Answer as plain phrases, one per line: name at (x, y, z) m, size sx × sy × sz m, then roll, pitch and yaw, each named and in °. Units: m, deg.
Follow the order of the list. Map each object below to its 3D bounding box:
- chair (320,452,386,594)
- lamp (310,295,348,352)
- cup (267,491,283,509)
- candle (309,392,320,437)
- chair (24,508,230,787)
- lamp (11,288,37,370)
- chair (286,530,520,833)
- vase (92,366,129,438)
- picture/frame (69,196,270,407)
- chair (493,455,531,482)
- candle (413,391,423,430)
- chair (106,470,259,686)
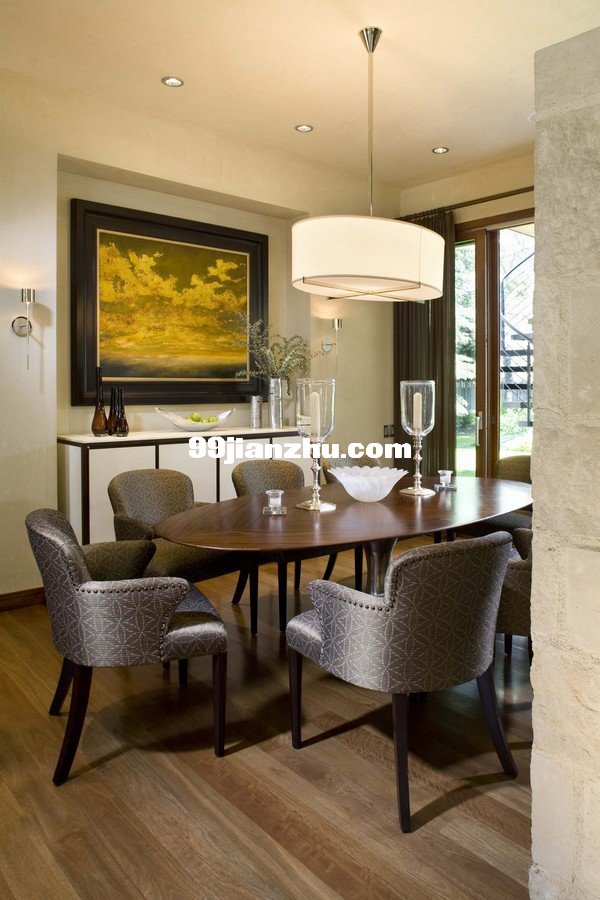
chair at (0.261, 0.361, 3.800) m, size 0.323 × 0.621 × 0.391 m, roll 9°, pitch 37°, yaw 7°
lamp at (0.243, -0.877, 5.274) m, size 0.295 × 0.298 × 0.084 m, roll -7°, pitch 11°, yaw -44°
cup at (-0.092, 0.186, 2.548) m, size 0.059 × 0.047 × 0.060 m, roll 0°, pitch -3°, yaw 0°
candle at (0.052, -0.128, 2.517) m, size 0.036 × 0.168 × 0.025 m, roll -1°, pitch 4°, yaw -3°
chair at (-0.487, 0.549, 1.981) m, size 0.537 × 0.728 × 0.438 m, roll -2°, pitch 4°, yaw -22°
lamp at (-1.409, -0.617, 3.485) m, size 0.125 × 0.388 × 0.105 m, roll -2°, pitch 4°, yaw -19°
chair at (0.268, 0.542, 1.956) m, size 0.575 × 0.695 × 0.616 m, roll -2°, pitch 7°, yaw -13°
vase at (-1.108, -0.278, 3.967) m, size 0.189 × 0.383 × 0.268 m, roll -1°, pitch 4°, yaw -14°
picture/frame at (-0.881, -0.960, 4.389) m, size 1.439 × 1.197 × 0.060 m, roll -1°, pitch 1°, yaw -43°
chair at (1.235, 0.110, 3.967) m, size 0.151 × 0.134 × 0.144 m, roll 1°, pitch 2°, yaw -41°
candle at (0.499, -0.164, 2.919) m, size 0.043 × 0.165 × 0.017 m, roll 1°, pitch 4°, yaw 21°
chair at (-0.535, 0.355, 2.963) m, size 0.465 × 0.556 × 0.539 m, roll -6°, pitch 3°, yaw -30°
